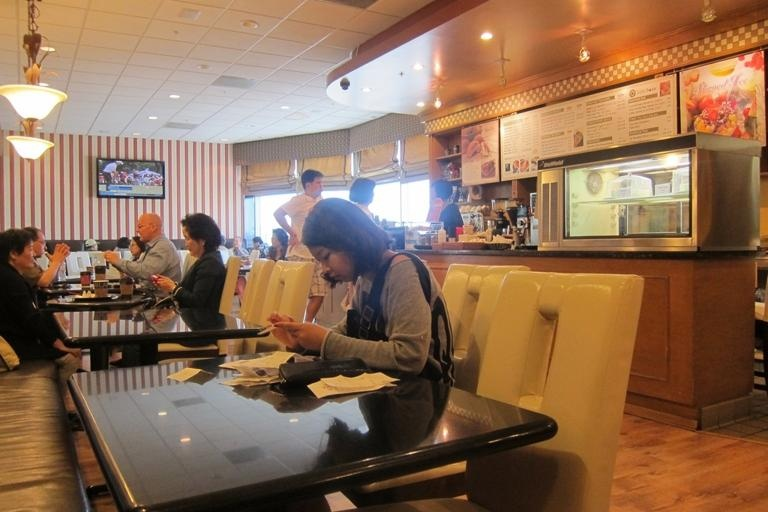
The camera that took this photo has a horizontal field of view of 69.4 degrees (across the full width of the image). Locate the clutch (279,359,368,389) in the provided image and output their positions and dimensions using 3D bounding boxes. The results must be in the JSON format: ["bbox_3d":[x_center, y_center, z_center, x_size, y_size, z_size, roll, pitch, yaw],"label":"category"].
[{"bbox_3d":[-0.234,0.406,1.991,0.211,0.043,0.117,-3,4,-26],"label":"clutch"}]

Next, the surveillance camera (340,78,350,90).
[{"bbox_3d":[-0.495,-2.156,6.938,0.091,0.088,0.088,10,29,9],"label":"surveillance camera"}]

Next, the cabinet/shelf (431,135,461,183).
[{"bbox_3d":[0.900,-1.503,8.366,0.645,0.721,0.434,5,15,24],"label":"cabinet/shelf"}]

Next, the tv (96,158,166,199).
[{"bbox_3d":[-5.347,-1.618,11.488,0.977,0.595,0.098,0,8,-20],"label":"tv"}]

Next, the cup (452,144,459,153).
[{"bbox_3d":[1.079,-1.616,8.297,0.100,0.117,0.216,1,13,6],"label":"cup"}]

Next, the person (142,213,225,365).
[{"bbox_3d":[-1.448,0.353,4.130,0.493,1.296,0.465,-1,9,-20],"label":"person"}]

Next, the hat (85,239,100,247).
[{"bbox_3d":[-5.462,-0.239,10.315,0.207,0.155,0.173,3,4,14],"label":"hat"}]

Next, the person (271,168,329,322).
[{"bbox_3d":[-0.848,-0.140,6.094,0.613,1.605,0.511,-2,-9,-3],"label":"person"}]

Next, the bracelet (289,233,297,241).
[{"bbox_3d":[-1.047,-0.225,6.297,0.076,0.109,0.104,0,41,-8],"label":"bracelet"}]
